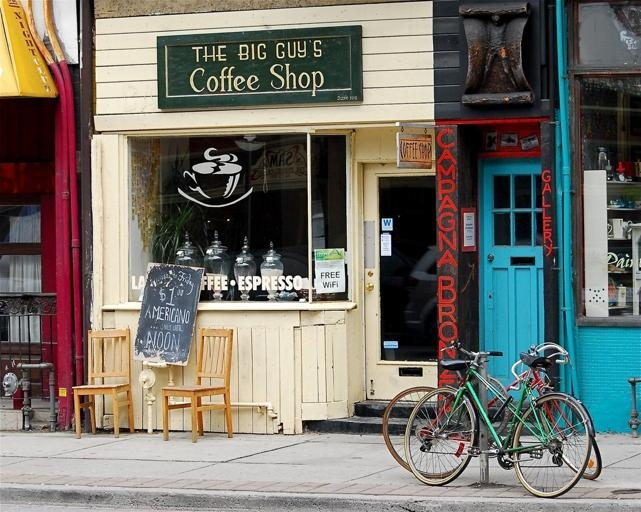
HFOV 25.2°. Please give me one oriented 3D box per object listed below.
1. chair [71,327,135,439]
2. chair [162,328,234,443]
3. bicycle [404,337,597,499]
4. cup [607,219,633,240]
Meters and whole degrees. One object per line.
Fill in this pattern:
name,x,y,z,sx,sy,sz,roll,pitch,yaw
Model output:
chair,-2.601,1.502,17.149,0.688,1.293,0.681,-2,-5,2
chair,-1.428,1.494,16.802,0.846,1.323,0.889,-1,-5,-7
bicycle,1.801,1.644,14.192,2.000,1.451,0.444,-4,-6,29
cup,3.437,-0.318,16.470,0.301,0.261,0.179,0,-3,18
